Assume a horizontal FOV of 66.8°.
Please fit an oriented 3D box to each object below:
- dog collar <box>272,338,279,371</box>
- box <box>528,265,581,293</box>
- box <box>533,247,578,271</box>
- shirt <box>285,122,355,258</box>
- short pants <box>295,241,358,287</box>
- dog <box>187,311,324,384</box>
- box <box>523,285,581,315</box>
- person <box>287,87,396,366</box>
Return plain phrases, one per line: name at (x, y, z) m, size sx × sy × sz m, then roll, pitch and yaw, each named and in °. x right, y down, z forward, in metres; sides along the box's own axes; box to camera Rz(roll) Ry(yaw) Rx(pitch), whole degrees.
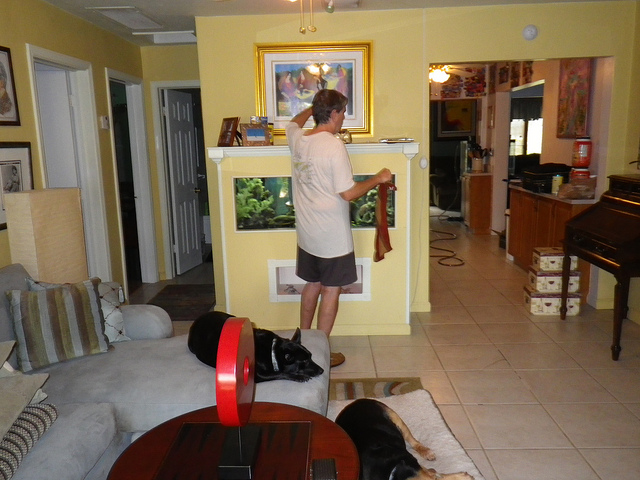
dog collar at (-0.235, 0.618, 2.583) m, size 0.027 × 0.155 × 0.021 m, roll 1°, pitch -10°, yaw -2°
box at (2.261, 0.403, 4.866) m, size 0.368 × 0.176 × 0.265 m, roll 1°, pitch 13°, yaw 2°
box at (2.280, 0.194, 4.861) m, size 0.356 × 0.170 × 0.259 m, roll 2°, pitch 15°, yaw 7°
shirt at (0.017, -0.336, 3.615) m, size 0.533 × 0.929 × 0.213 m, roll 10°, pitch 19°, yaw 39°
short pants at (0.059, 0.087, 3.718) m, size 0.501 × 0.348 × 0.279 m, roll 11°, pitch 24°, yaw 35°
dog at (-0.377, 0.591, 2.716) m, size 0.693 × 0.267 × 0.361 m, roll 8°, pitch 15°, yaw 14°
box at (2.345, 0.602, 4.842) m, size 0.465 × 0.217 × 0.356 m, roll -4°, pitch 4°, yaw 34°
person at (0.056, -0.178, 3.694) m, size 0.717 × 1.849 × 0.291 m, roll 6°, pitch 16°, yaw 29°
